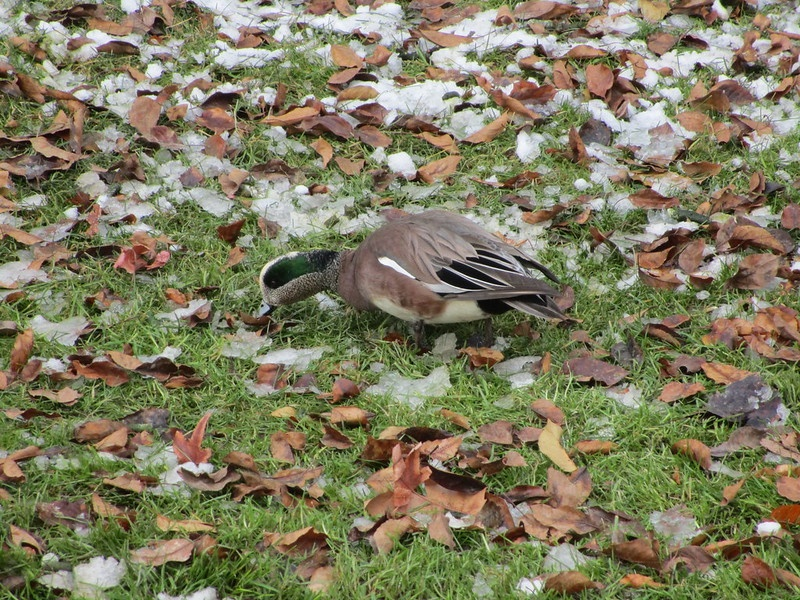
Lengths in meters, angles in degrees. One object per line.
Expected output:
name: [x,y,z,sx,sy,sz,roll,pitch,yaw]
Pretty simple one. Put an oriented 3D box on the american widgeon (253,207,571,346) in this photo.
american widgeon: [-0.169,-0.131,4.741,2.183,0.646,0.618,0,38,24]
